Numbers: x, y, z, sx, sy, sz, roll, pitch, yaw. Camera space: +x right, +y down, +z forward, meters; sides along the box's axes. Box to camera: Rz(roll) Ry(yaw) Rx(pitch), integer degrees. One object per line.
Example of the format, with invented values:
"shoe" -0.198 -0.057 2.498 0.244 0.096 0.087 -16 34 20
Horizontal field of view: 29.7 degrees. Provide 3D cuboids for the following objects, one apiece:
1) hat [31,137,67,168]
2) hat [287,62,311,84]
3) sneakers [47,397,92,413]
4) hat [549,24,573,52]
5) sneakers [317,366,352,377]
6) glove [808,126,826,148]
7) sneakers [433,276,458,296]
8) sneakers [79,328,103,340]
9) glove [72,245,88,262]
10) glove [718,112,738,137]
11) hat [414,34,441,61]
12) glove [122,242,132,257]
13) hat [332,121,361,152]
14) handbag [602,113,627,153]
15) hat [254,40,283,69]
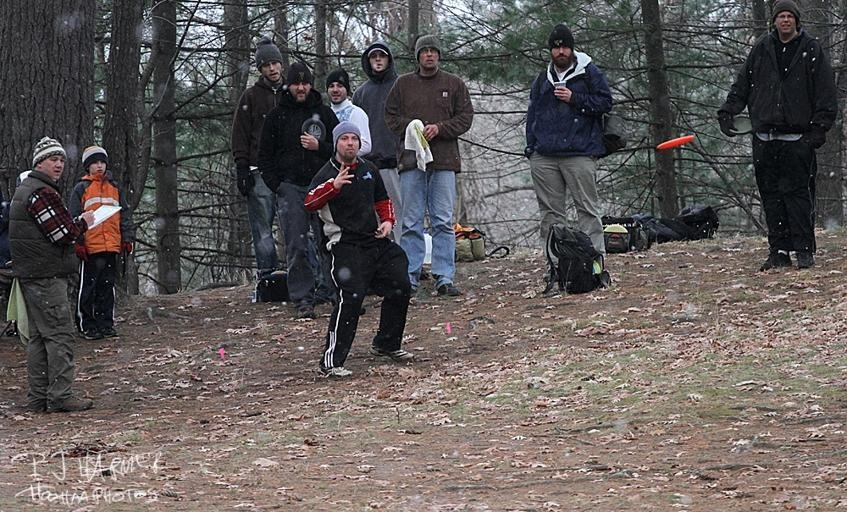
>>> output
"hat" -5.316 -1.460 22.300 0.540 0.407 0.487 11 9 24
"hat" -1.949 -2.843 24.865 0.364 0.306 0.367 -3 18 -21
"sneakers" -4.901 2.040 22.039 0.628 0.214 0.217 -3 3 -9
"hat" 2.044 -3.333 24.273 0.403 0.342 0.400 0 6 -1
"sneakers" -1.269 1.623 22.514 0.476 0.163 0.155 -2 -1 17
"glove" 5.846 -1.788 23.834 0.289 0.358 0.257 -1 4 11
"sneakers" 0.342 0.501 25.169 0.204 0.185 0.470 -1 2 -43
"sneakers" -5.170 1.207 24.565 0.353 0.130 0.146 -3 -2 30
"glove" -5.195 -0.059 24.106 0.116 0.273 0.230 -38 -10 32
"glove" 4.545 -1.973 24.180 0.296 0.339 0.287 -13 -28 42
"hat" 0.030 -3.256 24.853 0.402 0.287 0.415 0 -2 -10
"glove" -4.605 -0.112 24.627 0.160 0.184 0.182 -1 32 -11
"hat" -1.118 -1.693 22.521 0.362 0.405 0.374 -2 4 -5
"handbag" 2.862 -1.884 24.482 0.470 0.515 0.781 -3 -13 2
"hat" -2.596 -3.236 25.465 0.441 0.394 0.460 -8 5 -19
